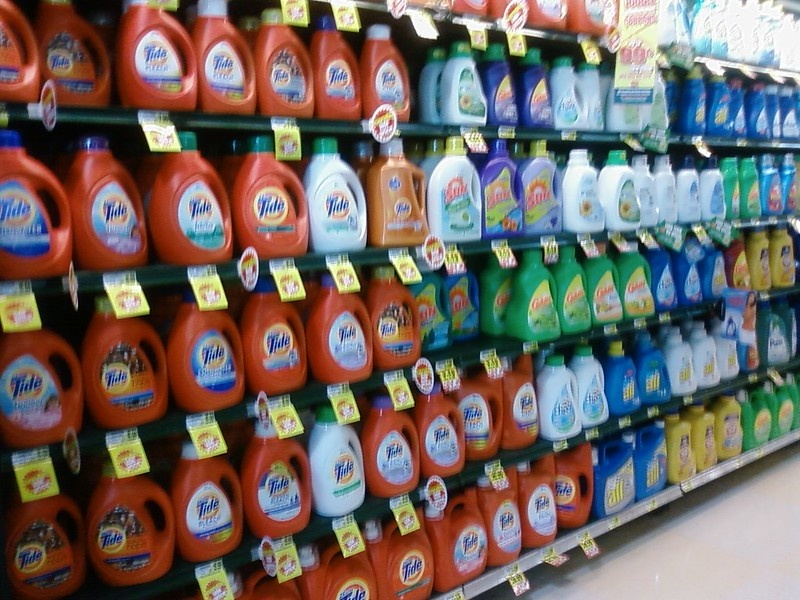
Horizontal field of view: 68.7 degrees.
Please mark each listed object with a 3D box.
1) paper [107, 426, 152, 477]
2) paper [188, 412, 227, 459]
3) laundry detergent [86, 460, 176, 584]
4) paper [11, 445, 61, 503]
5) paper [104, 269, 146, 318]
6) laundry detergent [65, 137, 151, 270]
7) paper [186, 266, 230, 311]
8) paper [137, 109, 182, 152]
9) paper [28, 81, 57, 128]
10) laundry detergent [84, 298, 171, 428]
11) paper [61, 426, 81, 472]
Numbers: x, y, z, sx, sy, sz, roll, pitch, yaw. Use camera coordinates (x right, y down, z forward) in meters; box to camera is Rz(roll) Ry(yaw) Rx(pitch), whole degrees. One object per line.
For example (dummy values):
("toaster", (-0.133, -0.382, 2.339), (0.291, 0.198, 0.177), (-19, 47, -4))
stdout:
("paper", (-0.907, 0.505, 1.896), (0.130, 0.156, 0.107), (-4, 7, -14))
("paper", (-0.667, 0.485, 1.997), (0.108, 0.195, 0.120), (-9, 16, -31))
("laundry detergent", (-0.895, 0.717, 1.965), (0.271, 0.463, 0.152), (-2, 21, -25))
("paper", (-1.094, 0.518, 1.750), (0.100, 0.141, 0.065), (-12, 18, -39))
("paper", (-0.850, -0.020, 1.801), (0.115, 0.193, 0.037), (-5, -24, -38))
("laundry detergent", (-0.943, -0.313, 1.873), (0.216, 0.406, 0.154), (-8, 15, -29))
("paper", (-0.633, -0.042, 1.913), (0.111, 0.134, 0.070), (-6, 15, -23))
("paper", (-0.755, -0.540, 1.876), (0.114, 0.132, 0.160), (2, 15, 9))
("paper", (-1.049, -0.576, 1.714), (0.059, 0.129, 0.070), (5, 2, 12))
("laundry detergent", (-0.907, 0.196, 1.917), (0.252, 0.411, 0.151), (-6, 14, -22))
("paper", (-1.006, 0.453, 1.783), (0.037, 0.112, 0.092), (-11, 18, -39))
